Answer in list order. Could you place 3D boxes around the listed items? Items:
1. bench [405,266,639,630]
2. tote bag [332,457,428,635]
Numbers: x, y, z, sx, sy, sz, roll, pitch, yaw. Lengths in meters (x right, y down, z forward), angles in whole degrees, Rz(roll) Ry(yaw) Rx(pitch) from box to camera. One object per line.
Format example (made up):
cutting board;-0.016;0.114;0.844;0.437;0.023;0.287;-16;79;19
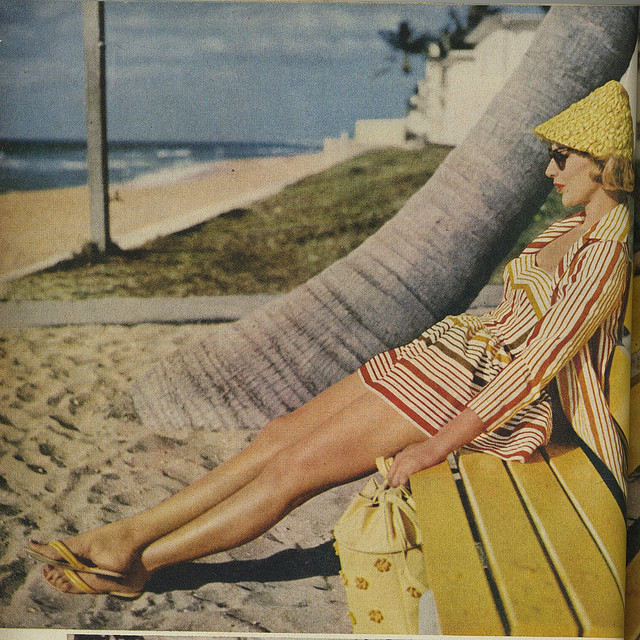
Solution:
bench;0.824;0.419;6.745;0.909;2.457;1.441;4;1;-4
tote bag;0.236;0.975;5.665;0.395;0.571;0.238;7;24;1
